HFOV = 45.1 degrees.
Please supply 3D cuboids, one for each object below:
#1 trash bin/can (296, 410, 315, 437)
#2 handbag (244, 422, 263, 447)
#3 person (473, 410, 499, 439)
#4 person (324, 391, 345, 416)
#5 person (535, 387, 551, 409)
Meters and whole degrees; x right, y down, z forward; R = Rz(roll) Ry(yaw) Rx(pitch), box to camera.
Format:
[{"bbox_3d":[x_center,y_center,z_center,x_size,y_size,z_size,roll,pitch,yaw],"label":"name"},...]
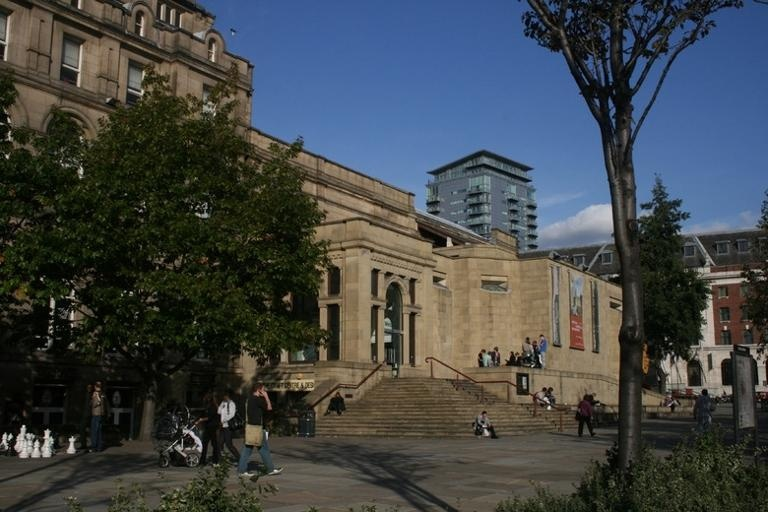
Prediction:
[{"bbox_3d":[-3.517,7.517,41.775,0.731,1.197,0.606,1,-16,-13],"label":"trash bin/can"},{"bbox_3d":[-4.099,5.616,29.154,0.564,0.716,0.324,0,-15,-8],"label":"handbag"},{"bbox_3d":[4.531,7.620,41.678,1.031,1.432,1.217,5,-11,-41],"label":"person"},{"bbox_3d":[-2.350,7.114,44.220,0.868,0.932,0.413,-2,-15,-4],"label":"person"},{"bbox_3d":[8.496,7.618,49.615,0.820,1.270,2.080,-6,-16,14],"label":"person"}]
